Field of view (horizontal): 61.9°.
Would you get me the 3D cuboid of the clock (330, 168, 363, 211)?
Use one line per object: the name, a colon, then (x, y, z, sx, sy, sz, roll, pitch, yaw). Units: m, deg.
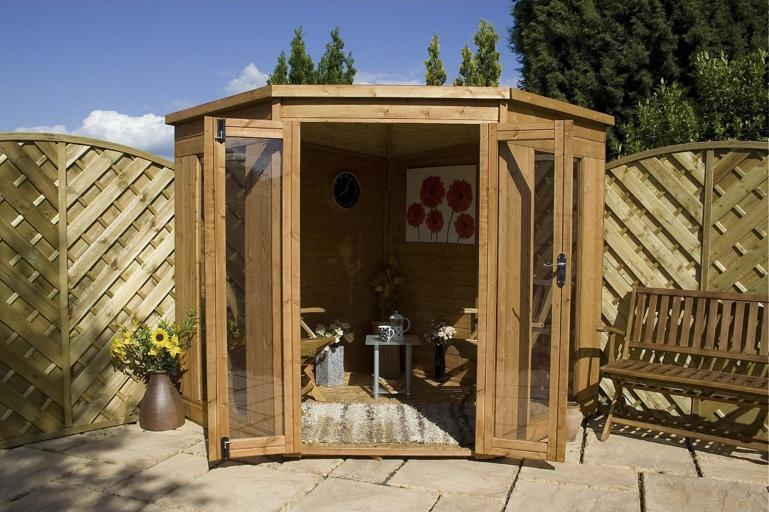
clock: (-0.584, -0.987, 9.419, 0.080, 0.621, 0.612, -7, -2, 41)

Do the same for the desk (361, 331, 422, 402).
desk: (0.121, 1.531, 9.032, 0.692, 0.843, 1.227, -1, -5, 0)

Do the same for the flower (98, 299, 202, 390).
flower: (-2.969, 1.195, 8.147, 1.026, 0.748, 0.931, 5, -19, -20)

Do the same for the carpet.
carpet: (0.050, 2.034, 7.812, 2.168, 0.358, 1.141, -1, -5, 1)

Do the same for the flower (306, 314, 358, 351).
flower: (-0.720, 1.055, 9.284, 0.488, 0.283, 0.532, -5, 40, -30)

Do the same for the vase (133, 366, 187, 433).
vase: (-2.853, 1.819, 8.031, 0.785, 0.631, 0.777, 5, -5, -40)

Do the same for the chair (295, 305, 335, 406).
chair: (-0.913, 1.318, 8.781, 0.460, 1.233, 0.966, 0, -5, -7)

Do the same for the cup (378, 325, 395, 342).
cup: (0.045, 1.054, 8.752, 0.239, 0.210, 0.190, 0, -5, -2)
